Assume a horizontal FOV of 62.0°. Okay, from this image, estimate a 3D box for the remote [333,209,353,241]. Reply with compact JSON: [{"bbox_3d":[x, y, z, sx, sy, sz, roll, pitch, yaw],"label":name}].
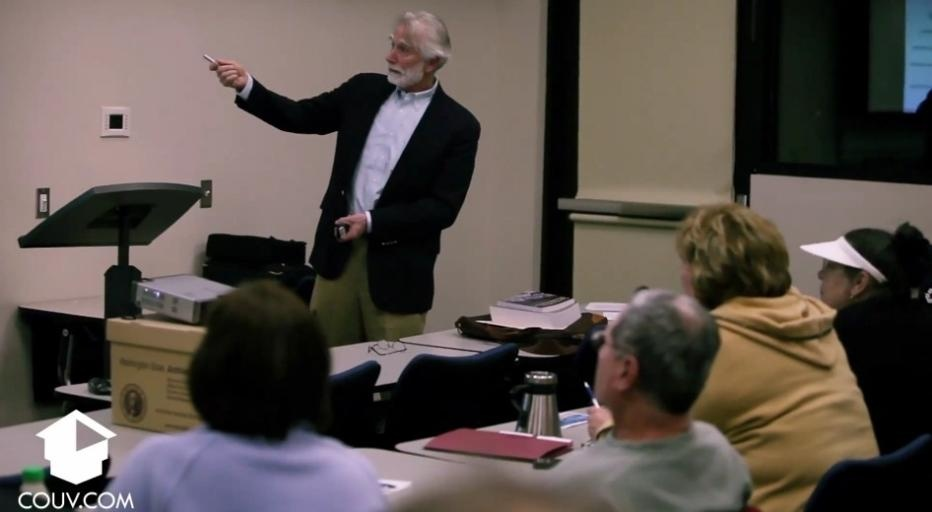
[{"bbox_3d":[-0.661,-0.159,4.150,0.044,0.131,0.103,6,8,28],"label":"remote"}]
